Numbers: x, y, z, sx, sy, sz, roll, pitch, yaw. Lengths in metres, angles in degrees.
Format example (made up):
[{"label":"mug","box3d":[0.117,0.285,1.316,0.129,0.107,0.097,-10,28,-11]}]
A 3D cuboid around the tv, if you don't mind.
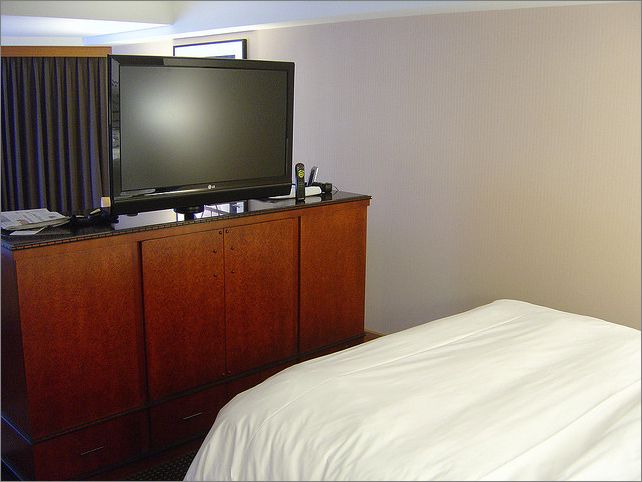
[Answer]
[{"label":"tv","box3d":[-0.661,-0.612,2.740,0.964,0.838,0.361,-10,32,-29]}]
